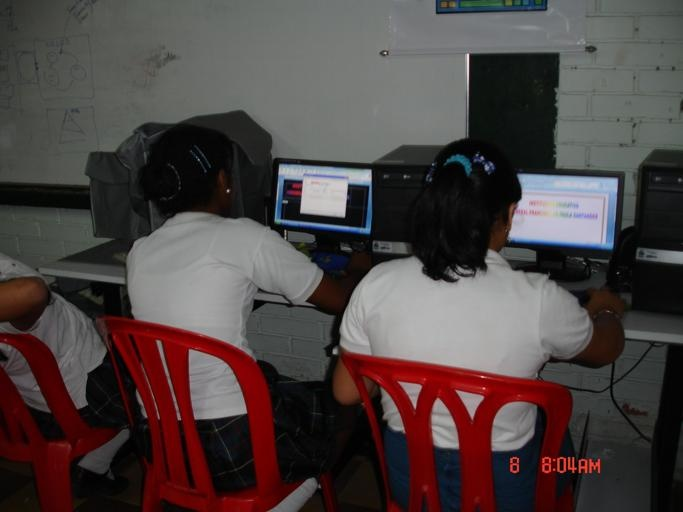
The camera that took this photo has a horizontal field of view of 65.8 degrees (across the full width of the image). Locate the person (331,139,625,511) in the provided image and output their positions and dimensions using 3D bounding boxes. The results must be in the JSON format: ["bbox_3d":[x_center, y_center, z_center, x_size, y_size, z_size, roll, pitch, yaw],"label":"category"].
[{"bbox_3d":[0.367,0.189,1.305,0.725,0.925,0.345,-3,13,-17],"label":"person"}]

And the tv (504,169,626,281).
[{"bbox_3d":[0.841,-0.125,1.965,0.366,0.375,0.174,5,12,25],"label":"tv"}]

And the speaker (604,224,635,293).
[{"bbox_3d":[1.039,0.010,1.965,0.080,0.243,0.155,12,30,33],"label":"speaker"}]
